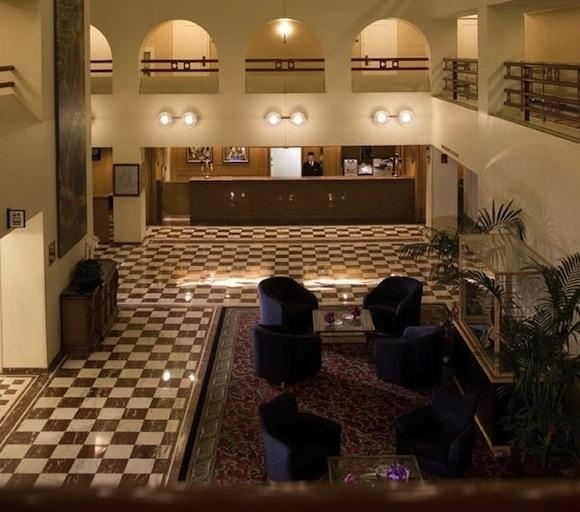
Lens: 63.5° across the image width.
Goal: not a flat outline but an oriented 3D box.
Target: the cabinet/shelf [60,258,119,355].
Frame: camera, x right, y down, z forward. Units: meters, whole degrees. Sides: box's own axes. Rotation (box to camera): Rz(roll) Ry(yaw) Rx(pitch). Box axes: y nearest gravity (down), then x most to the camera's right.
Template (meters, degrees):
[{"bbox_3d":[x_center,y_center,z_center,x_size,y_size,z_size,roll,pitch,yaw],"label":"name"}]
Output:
[{"bbox_3d":[-3.963,1.023,9.186,0.399,0.778,1.625,-1,17,-5],"label":"cabinet/shelf"}]

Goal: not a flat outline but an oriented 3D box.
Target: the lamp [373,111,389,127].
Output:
[{"bbox_3d":[2.950,-4.427,15.022,0.384,0.433,0.312,0,29,5],"label":"lamp"}]

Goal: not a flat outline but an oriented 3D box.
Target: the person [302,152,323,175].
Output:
[{"bbox_3d":[0.908,-3.685,18.816,0.748,0.972,0.589,4,-7,-1],"label":"person"}]

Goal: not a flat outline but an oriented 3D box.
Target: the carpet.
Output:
[{"bbox_3d":[0.926,3.585,8.742,5.619,0.352,6.954,3,-32,-11],"label":"carpet"}]

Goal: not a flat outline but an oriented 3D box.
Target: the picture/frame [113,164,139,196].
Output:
[{"bbox_3d":[-5.322,-2.540,15.274,0.896,1.220,0.171,0,2,-2],"label":"picture/frame"}]

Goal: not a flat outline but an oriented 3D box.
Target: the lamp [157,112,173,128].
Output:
[{"bbox_3d":[-3.966,-4.405,15.001,0.383,0.444,0.251,4,-5,0],"label":"lamp"}]
